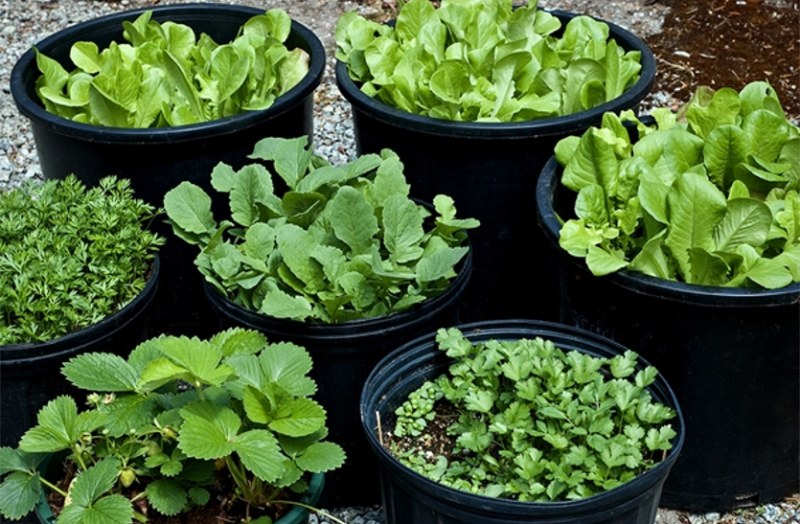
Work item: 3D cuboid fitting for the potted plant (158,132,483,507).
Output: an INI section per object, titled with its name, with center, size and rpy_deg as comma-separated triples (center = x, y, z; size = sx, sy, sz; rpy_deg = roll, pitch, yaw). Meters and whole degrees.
[potted plant]
center = -0.013, 0.333, 2.729
size = 0.668, 0.935, 0.861
rpy_deg = -14, 19, 6
